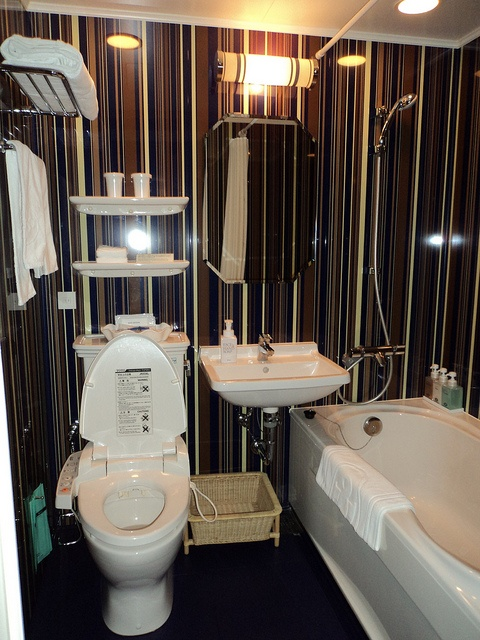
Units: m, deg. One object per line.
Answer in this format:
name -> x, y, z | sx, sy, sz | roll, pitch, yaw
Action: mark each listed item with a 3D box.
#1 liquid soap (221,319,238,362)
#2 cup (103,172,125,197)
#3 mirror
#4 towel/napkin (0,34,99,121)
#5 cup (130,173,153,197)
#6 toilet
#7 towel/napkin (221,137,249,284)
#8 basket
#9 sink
liquid soap -> -0.050, 0.099, 2.132 | 0.067, 0.205, 0.077 | -6, -14, 22
cup -> -0.483, -0.519, 1.911 | 0.067, 0.125, 0.080 | 5, 15, 17
mirror -> 0.092, -0.521, 2.215 | 0.477, 0.027, 0.864 | -2, -40, 1
towel/napkin -> -0.576, -0.767, 1.504 | 0.174, 0.098, 0.224 | 9, 1, -6
cup -> -0.385, -0.524, 1.940 | 0.065, 0.128, 0.086 | 2, 10, 6
toilet -> -0.401, 0.547, 1.729 | 0.462, 0.956, 0.610 | -1, 8, -15
towel/napkin -> -0.024, -0.473, 2.154 | 0.120, 0.610, 0.029 | -1, 7, -10
basket -> -0.043, 0.832, 2.180 | 0.293, 0.199, 0.317 | 0, 7, -8
sink -> 0.121, 0.241, 2.054 | 0.560, 0.198, 0.498 | 0, 9, -10
